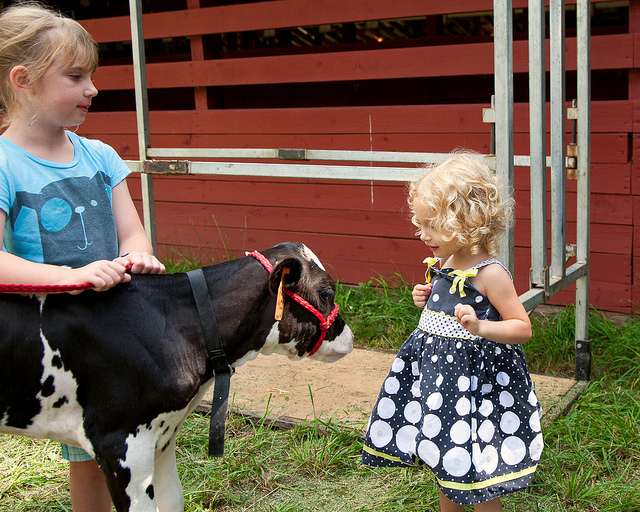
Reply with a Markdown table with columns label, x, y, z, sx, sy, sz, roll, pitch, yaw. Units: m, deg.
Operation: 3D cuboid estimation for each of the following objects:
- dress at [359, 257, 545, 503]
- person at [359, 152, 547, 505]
| label | x | y | z | sx | sy | sz | roll | pitch | yaw |
| --- | --- | --- | --- | --- | --- | --- | --- | --- | --- |
| dress | 0.473 | 0.307 | 2.396 | 0.735 | 0.949 | 0.865 | -1 | 1 | -33 |
| person | 0.474 | 0.265 | 2.073 | 0.379 | 1.245 | 0.542 | -1 | 3 | -45 |
